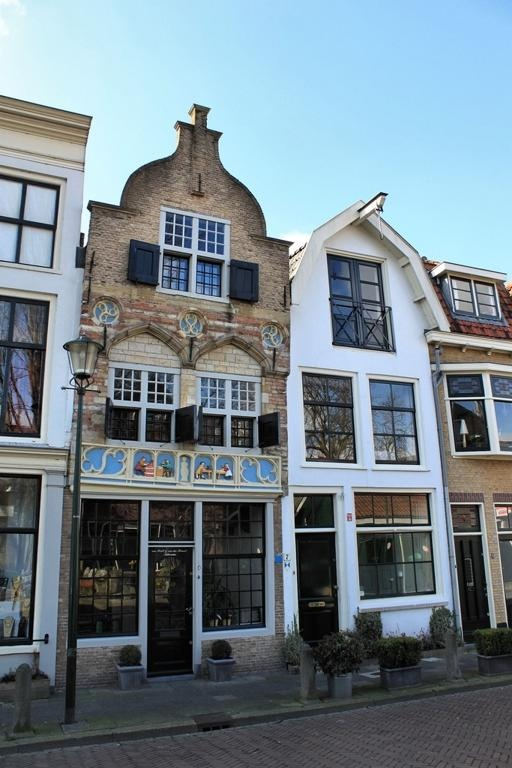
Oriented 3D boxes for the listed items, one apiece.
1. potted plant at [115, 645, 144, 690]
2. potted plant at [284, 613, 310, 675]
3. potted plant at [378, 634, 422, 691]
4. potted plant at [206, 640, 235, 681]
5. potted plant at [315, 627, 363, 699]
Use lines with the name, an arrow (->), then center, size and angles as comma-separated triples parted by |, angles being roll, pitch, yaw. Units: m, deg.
potted plant -> -2.058, 4.646, 9.588 | 0.439, 0.658, 0.585 | 2, -16, -13
potted plant -> 0.705, 5.017, 11.218 | 0.411, 0.911, 0.858 | -2, -15, 1
potted plant -> 2.330, 4.535, 9.515 | 0.760, 0.706, 0.348 | 7, -18, -30
potted plant -> -0.627, 4.896, 10.342 | 0.487, 0.649, 0.521 | 2, -16, -15
potted plant -> 1.277, 4.408, 9.089 | 0.645, 0.808, 0.677 | 11, -28, -25
